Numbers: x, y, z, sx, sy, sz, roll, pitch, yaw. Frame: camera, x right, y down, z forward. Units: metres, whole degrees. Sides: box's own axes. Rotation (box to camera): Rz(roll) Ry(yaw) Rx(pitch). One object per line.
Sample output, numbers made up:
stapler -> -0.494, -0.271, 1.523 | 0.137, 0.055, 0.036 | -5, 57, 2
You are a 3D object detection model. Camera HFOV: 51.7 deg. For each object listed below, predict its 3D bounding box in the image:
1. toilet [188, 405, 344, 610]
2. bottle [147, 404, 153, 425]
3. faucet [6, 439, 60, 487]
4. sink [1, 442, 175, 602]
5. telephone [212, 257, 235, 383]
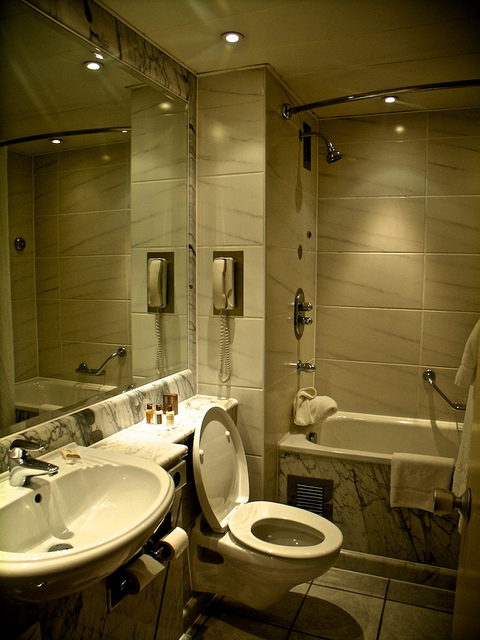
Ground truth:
toilet -> 0.097, 0.764, 1.951 | 0.573, 0.778, 0.393 | 4, 10, 28
bottle -> -0.361, 0.376, 1.975 | 0.020, 0.078, 0.010 | 0, 4, -13
faucet -> -0.520, 0.363, 1.225 | 0.088, 0.109, 0.151 | -3, 5, -39
sink -> -0.348, 0.481, 1.237 | 0.302, 0.139, 0.402 | 6, 12, 16
telephone -> -0.078, 0.009, 2.345 | 0.097, 0.600, 0.078 | 3, 5, 29
